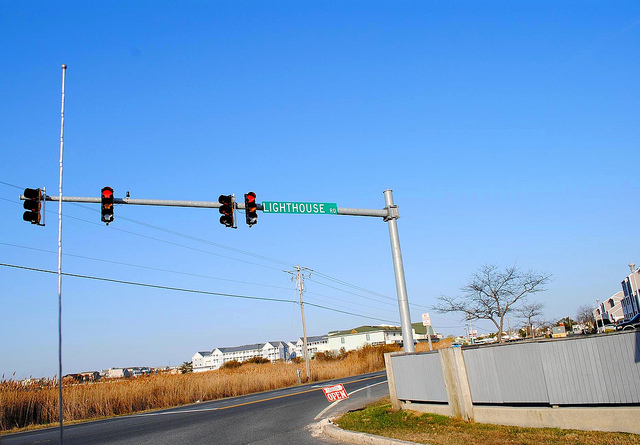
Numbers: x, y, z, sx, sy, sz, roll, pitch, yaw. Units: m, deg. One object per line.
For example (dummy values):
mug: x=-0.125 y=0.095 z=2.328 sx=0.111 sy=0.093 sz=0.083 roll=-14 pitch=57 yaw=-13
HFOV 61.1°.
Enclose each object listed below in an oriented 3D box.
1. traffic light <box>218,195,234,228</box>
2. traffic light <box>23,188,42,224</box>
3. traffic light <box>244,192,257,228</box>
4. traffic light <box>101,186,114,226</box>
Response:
traffic light: x=-3.270 y=-0.404 z=19.065 sx=0.495 sy=1.126 sz=0.519 roll=-6 pitch=-16 yaw=-10
traffic light: x=-9.340 y=-0.537 z=17.807 sx=0.515 sy=1.373 sz=1.078 roll=0 pitch=-18 yaw=-27
traffic light: x=-2.411 y=-0.436 z=19.061 sx=0.425 sy=1.339 sz=0.975 roll=-7 pitch=-16 yaw=-6
traffic light: x=-7.273 y=-0.571 z=18.692 sx=0.361 sy=1.325 sz=0.834 roll=-1 pitch=-18 yaw=-23
